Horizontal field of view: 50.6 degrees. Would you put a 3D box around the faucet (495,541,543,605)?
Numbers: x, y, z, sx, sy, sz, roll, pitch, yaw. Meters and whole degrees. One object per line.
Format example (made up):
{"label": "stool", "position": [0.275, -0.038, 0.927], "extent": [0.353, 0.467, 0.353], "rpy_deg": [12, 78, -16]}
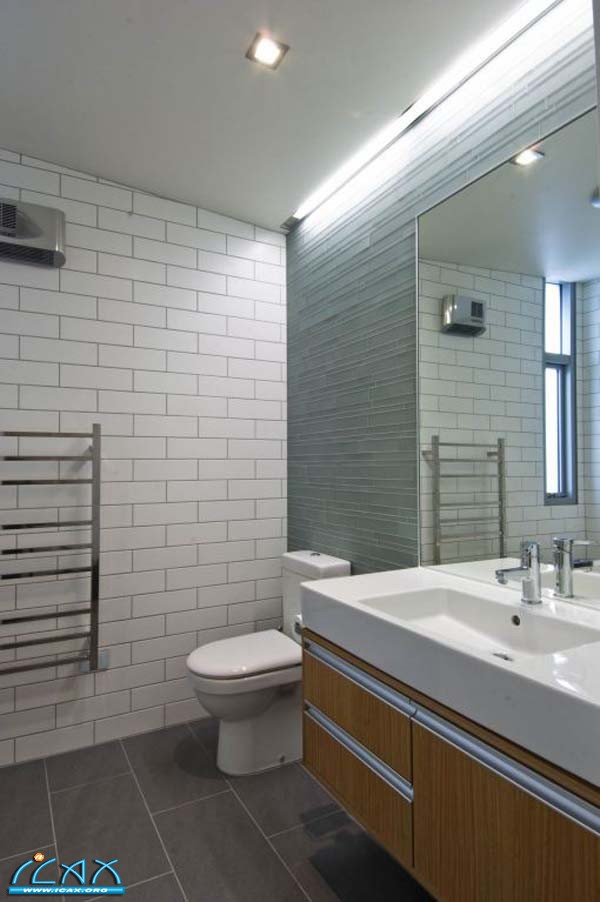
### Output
{"label": "faucet", "position": [0.556, 0.314, 1.606], "extent": [0.092, 0.162, 0.067], "rpy_deg": [-5, 4, -11]}

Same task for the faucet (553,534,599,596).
{"label": "faucet", "position": [0.670, 0.294, 1.600], "extent": [0.118, 0.172, 0.084], "rpy_deg": [1, 0, -32]}

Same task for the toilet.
{"label": "toilet", "position": [-0.139, 0.812, 2.454], "extent": [0.566, 0.717, 0.355], "rpy_deg": [1, 1, -30]}
